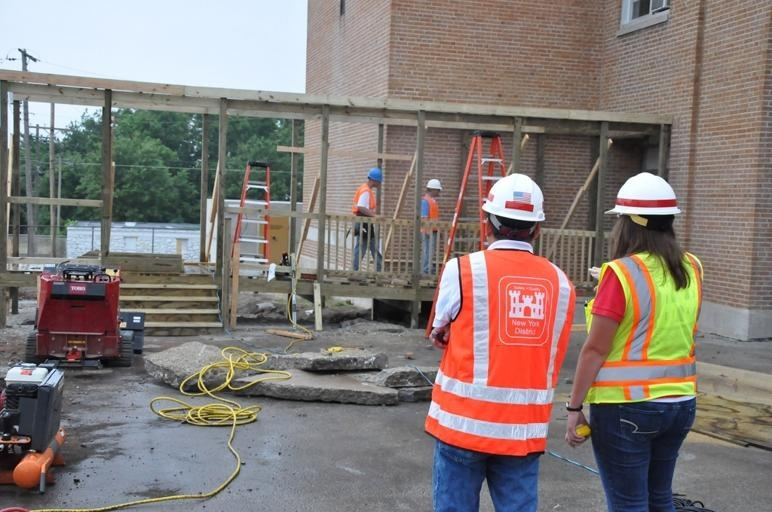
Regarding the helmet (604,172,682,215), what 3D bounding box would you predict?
[{"bbox_3d":[3.282,-0.819,14.324,0.586,0.355,0.680,-2,7,-21],"label":"helmet"}]
